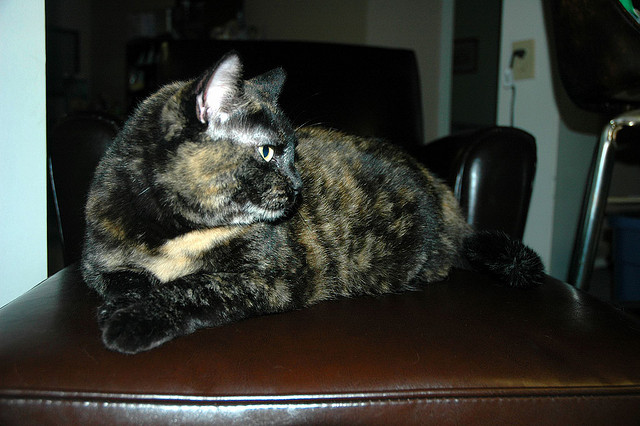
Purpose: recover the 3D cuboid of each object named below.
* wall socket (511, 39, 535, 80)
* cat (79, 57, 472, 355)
[{"bbox_3d":[0.659,-0.494,1.895,0.115,0.130,0.036,-5,12,-38],"label":"wall socket"},{"bbox_3d":[-0.124,-0.037,1.615,1.017,0.557,0.577,-3,-1,-35],"label":"cat"}]
